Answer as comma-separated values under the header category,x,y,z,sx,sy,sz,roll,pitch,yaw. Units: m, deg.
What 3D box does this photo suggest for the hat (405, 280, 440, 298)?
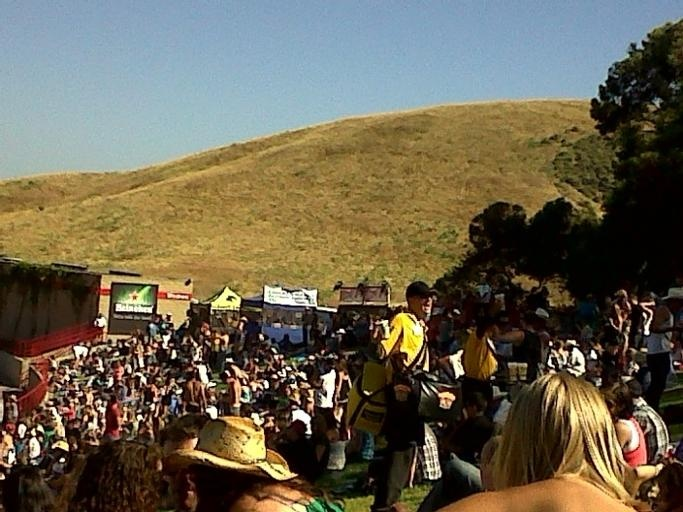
category,x,y,z,sx,sy,sz,roll,pitch,yaw
hat,0.794,0.359,5.964,0.243,0.142,0.177,-12,3,-2

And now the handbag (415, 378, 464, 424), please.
category,x,y,z,sx,sy,sz,roll,pitch,yaw
handbag,0.967,1.462,5.919,0.491,0.488,0.130,10,-10,-35

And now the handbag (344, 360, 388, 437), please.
category,x,y,z,sx,sy,sz,roll,pitch,yaw
handbag,0.259,1.425,6.116,0.416,0.684,0.643,15,3,-8
